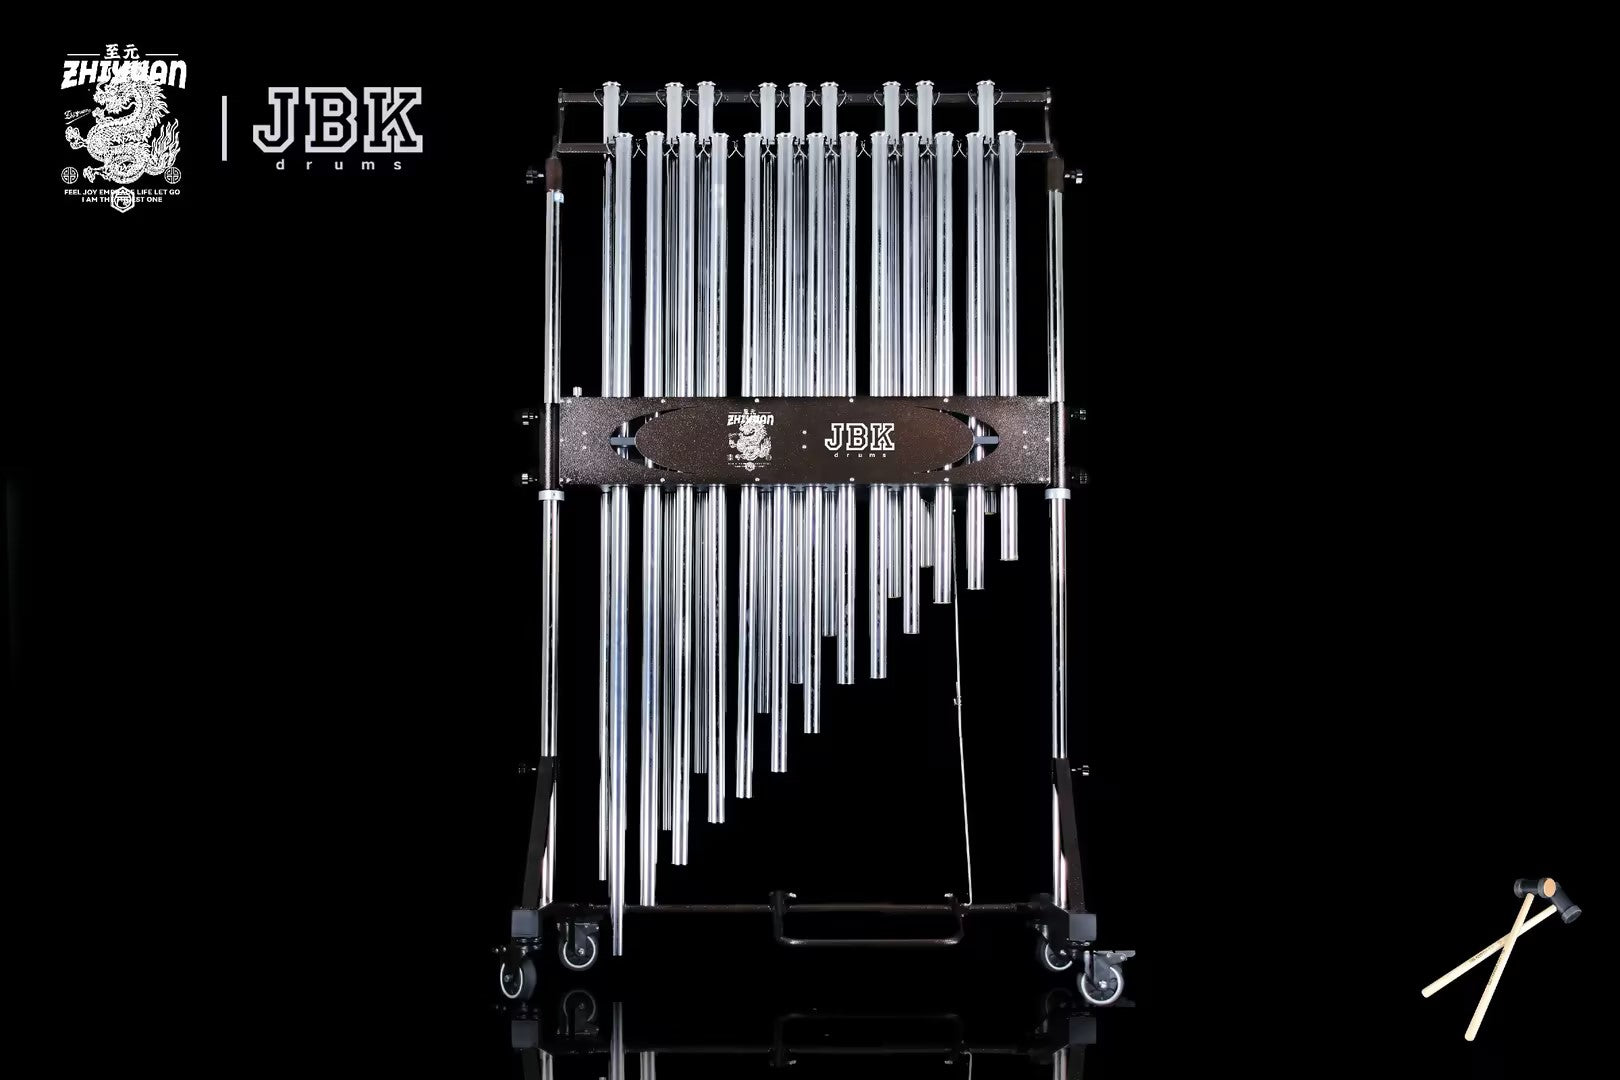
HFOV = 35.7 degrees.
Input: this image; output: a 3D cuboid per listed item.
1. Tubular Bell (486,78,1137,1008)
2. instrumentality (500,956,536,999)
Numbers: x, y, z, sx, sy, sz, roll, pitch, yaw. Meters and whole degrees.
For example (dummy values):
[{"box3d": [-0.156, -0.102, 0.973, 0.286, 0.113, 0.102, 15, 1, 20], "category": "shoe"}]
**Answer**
[{"box3d": [-0.037, 0.023, 7.968, 1.862, 2.874, 0.698, 9, 2, -9], "category": "Tubular Bell"}, {"box3d": [-0.937, 1.399, 8.026, 0.119, 0.141, 0.174, 10, 2, -4], "category": "instrumentality"}]
